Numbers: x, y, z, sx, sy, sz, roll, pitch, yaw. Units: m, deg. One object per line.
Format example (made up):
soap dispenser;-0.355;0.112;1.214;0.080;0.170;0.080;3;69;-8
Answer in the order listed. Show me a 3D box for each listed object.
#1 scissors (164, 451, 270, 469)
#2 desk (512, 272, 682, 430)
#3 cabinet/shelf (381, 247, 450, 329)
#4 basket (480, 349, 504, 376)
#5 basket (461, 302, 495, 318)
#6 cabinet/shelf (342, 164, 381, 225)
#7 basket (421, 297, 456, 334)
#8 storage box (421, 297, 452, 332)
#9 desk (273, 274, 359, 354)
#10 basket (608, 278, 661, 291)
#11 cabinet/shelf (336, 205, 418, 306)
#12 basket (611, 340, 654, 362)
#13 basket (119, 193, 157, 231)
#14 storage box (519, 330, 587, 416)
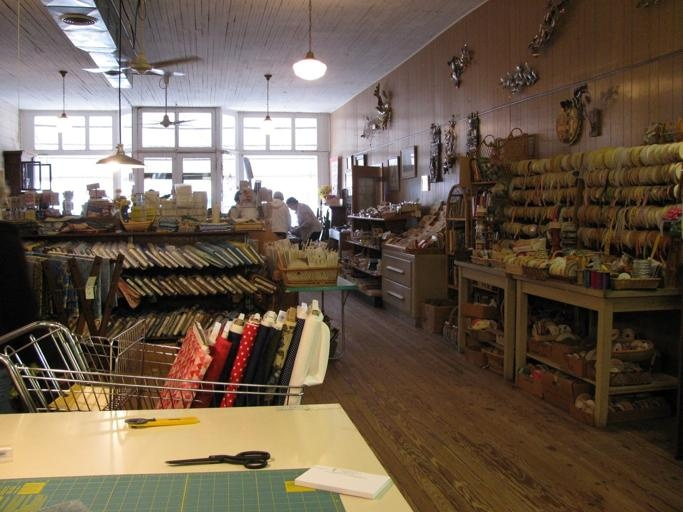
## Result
scissors;-0.348;0.601;1.439;0.219;0.034;0.101;0;-5;0
desk;2.117;0.522;4.167;0.983;1.239;1.301;-2;4;-12
cabinet/shelf;0.991;0.129;7.227;0.857;1.381;1.617;0;3;-9
basket;1.518;1.060;4.895;0.160;0.202;0.290;1;-1;-10
basket;1.471;0.567;5.131;0.146;0.122;0.264;-2;6;-25
cabinet/shelf;0.567;-1.417;10.431;0.868;1.680;0.872;1;3;-9
basket;1.299;0.784;6.422;0.366;0.398;0.556;-1;4;-9
storage box;1.281;0.653;6.444;0.340;0.422;0.596;0;5;-7
desk;-0.279;0.694;5.372;0.858;0.864;0.881;1;5;-4
basket;2.144;0.198;3.540;0.344;0.096;0.062;-2;6;-7
cabinet/shelf;0.617;-0.005;8.008;0.569;1.198;1.798;1;3;-5
basket;2.272;0.725;3.794;0.280;0.089;0.202;-1;1;-24
basket;-2.236;-0.496;5.548;0.449;0.492;0.358;1;-3;-7
storage box;1.788;1.020;4.050;0.376;0.183;0.494;2;12;-20
